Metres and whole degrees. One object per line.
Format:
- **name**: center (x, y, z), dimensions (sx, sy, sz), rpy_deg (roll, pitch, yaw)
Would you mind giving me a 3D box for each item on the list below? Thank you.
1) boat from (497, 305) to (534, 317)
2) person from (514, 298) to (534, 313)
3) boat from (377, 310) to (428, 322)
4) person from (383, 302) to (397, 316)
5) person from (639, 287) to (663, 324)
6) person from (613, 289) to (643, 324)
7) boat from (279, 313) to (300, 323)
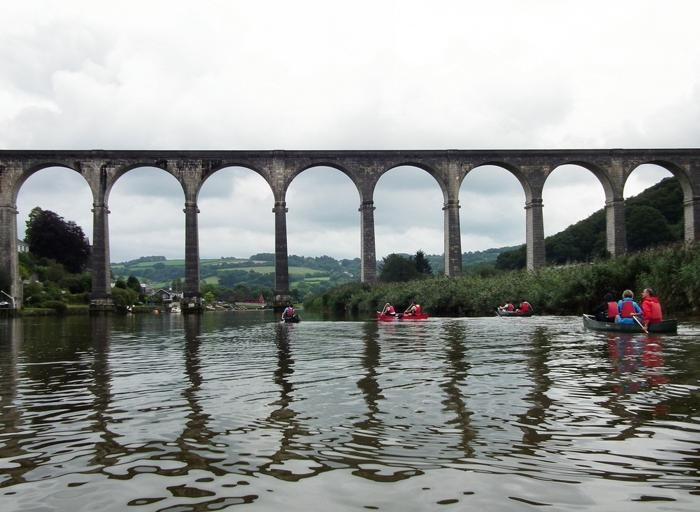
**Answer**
- **boat**: center (7.540, 2.531, 33.325), dimensions (1.742, 0.492, 0.561), rpy_deg (-2, -7, 43)
- **person**: center (8.120, 2.382, 33.704), dimensions (0.891, 0.694, 2.467), rpy_deg (-4, -5, 14)
- **boat**: center (2.064, 2.647, 33.651), dimensions (3.281, 0.527, 0.746), rpy_deg (-3, -8, 43)
- **person**: center (1.845, 2.485, 34.762), dimensions (0.667, 0.803, 0.759), rpy_deg (5, -10, 7)
- **person**: center (8.836, 1.433, 21.186), dimensions (0.471, 1.040, 1.612), rpy_deg (-5, -6, 24)
- **person**: center (8.128, 1.645, 21.332), dimensions (0.604, 0.722, 0.645), rpy_deg (-1, -8, 19)
- **boat**: center (-2.818, 2.844, 33.406), dimensions (0.608, 0.372, 2.313), rpy_deg (4, -7, -14)
